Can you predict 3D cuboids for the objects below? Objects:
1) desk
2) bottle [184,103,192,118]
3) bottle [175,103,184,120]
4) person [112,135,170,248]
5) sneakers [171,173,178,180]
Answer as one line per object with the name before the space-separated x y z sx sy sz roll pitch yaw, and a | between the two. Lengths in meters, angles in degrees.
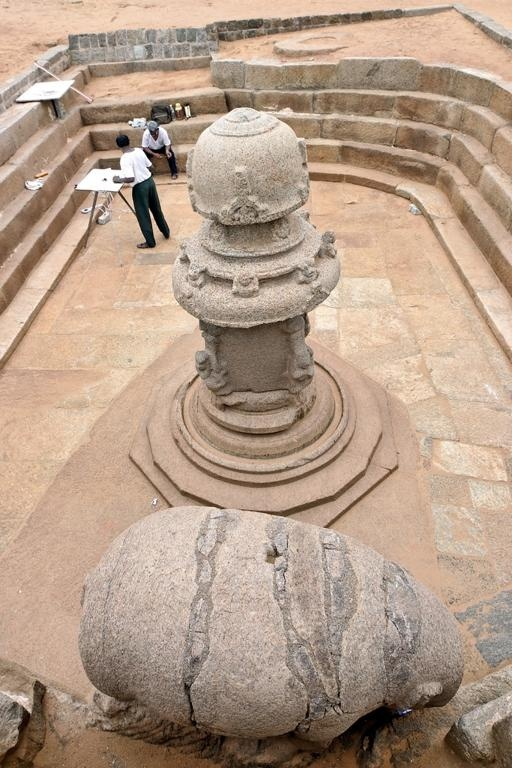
desk | -1.841 -2.285 7.766 0.677 0.696 0.743 -2 67 -49
bottle | -0.995 -3.993 8.841 0.094 0.128 0.392 7 32 -9
bottle | -1.116 -3.967 8.811 0.107 0.190 0.104 1 59 -2
person | -1.285 -2.145 6.659 0.475 1.186 0.412 -32 52 -28
sneakers | -1.155 -2.959 8.634 0.066 0.049 0.123 -4 28 -13
